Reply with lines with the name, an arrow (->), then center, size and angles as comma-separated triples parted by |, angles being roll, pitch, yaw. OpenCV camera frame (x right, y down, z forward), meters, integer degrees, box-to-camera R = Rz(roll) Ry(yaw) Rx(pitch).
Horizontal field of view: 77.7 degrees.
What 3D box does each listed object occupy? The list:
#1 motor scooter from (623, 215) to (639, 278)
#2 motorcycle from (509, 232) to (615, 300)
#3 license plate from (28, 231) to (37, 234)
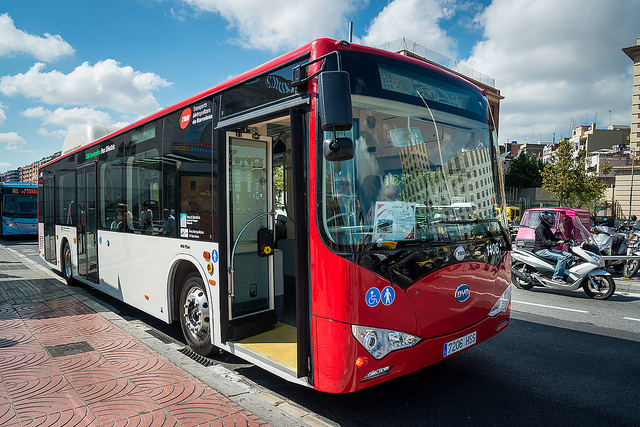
motor scooter -> 10.027, 1.180, 12.698 | 0.425, 1.399, 3.516 | 7, 10, 38
motorcycle -> 6.290, 1.277, 10.561 | 2.561, 1.768, 1.289 | -1, -4, 44
license plate -> -18.897, 1.237, 26.016 | 0.299, 0.205, 0.679 | 0, 9, -7
